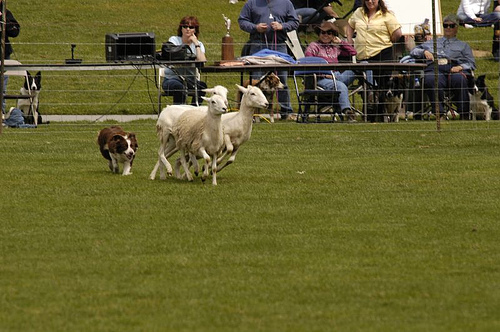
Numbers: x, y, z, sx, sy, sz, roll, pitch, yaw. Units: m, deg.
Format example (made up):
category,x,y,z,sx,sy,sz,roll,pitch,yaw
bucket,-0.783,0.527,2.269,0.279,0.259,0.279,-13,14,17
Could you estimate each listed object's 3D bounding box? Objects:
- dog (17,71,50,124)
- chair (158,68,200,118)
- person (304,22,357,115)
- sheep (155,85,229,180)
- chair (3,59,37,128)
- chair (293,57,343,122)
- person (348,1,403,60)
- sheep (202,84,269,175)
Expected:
category,x,y,z,sx,sy,sz,roll,pitch,yaw
dog,-5.958,-1.860,31.799,0.732,1.114,1.655,-1,-6,-13
chair,-2.053,-1.886,30.563,1.281,1.489,0.873,2,-15,6
person,2.134,-2.549,30.848,1.021,2.499,1.307,2,4,23
sheep,-1.234,-0.568,24.227,0.717,1.896,2.192,-1,7,-40
chair,-6.161,-1.938,31.219,0.830,1.720,3.560,0,4,-12
chair,1.656,-1.961,30.267,1.391,2.154,1.599,1,-9,-8
person,3.226,-3.452,30.556,1.351,1.462,0.640,1,4,10
sheep,-0.336,-0.689,25.173,0.835,2.031,2.432,3,-2,-16
